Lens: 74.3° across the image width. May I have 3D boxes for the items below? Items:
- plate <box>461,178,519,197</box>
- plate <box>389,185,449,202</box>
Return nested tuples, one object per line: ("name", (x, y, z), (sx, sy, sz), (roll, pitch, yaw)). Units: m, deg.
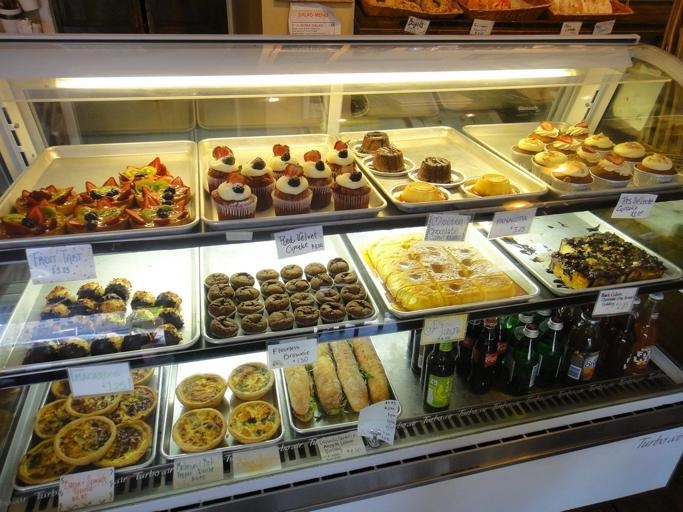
("plate", (0.630, -0.307, 1.908), (0.165, 0.135, 0.030), (-2, -74, -7))
("plate", (0.335, -0.255, 1.842), (0.148, 0.121, 0.026), (4, -69, 8))
